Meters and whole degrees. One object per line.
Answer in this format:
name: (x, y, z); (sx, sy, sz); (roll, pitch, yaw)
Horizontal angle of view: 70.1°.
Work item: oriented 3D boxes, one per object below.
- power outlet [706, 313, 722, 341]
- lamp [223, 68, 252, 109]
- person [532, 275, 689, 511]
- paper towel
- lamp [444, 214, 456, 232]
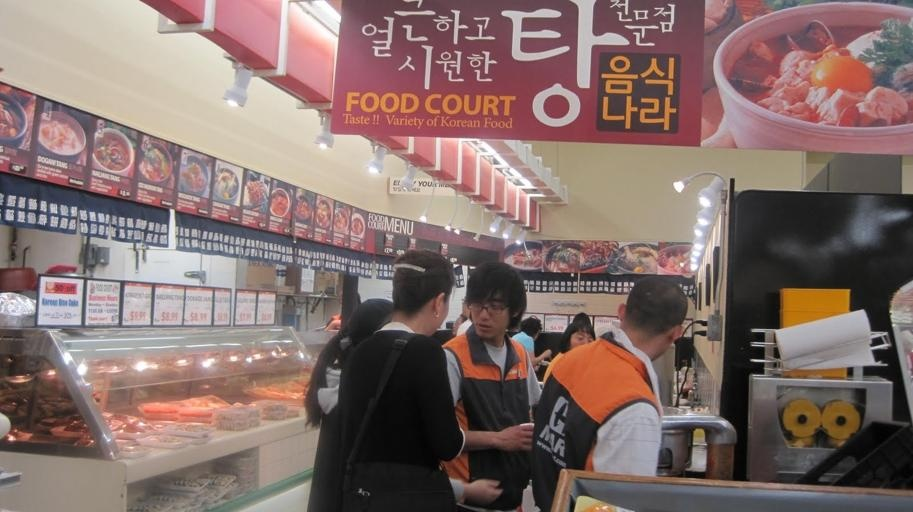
power outlet: (1.928, 0.528, 4.874); (0.123, 0.215, 0.235); (-1, -6, 5)
lamp: (-1.864, -1.430, 5.575); (0.216, 0.426, 0.581); (0, -5, -18)
person: (0.807, 0.763, 3.536); (0.883, 1.302, 0.479); (-3, -5, 16)
paper towel: (2.258, 0.524, 3.893); (0.533, 0.371, 0.184); (-10, 3, 5)
lamp: (-0.147, -0.665, 13.075); (0.138, 0.122, 0.394); (9, 16, 12)
